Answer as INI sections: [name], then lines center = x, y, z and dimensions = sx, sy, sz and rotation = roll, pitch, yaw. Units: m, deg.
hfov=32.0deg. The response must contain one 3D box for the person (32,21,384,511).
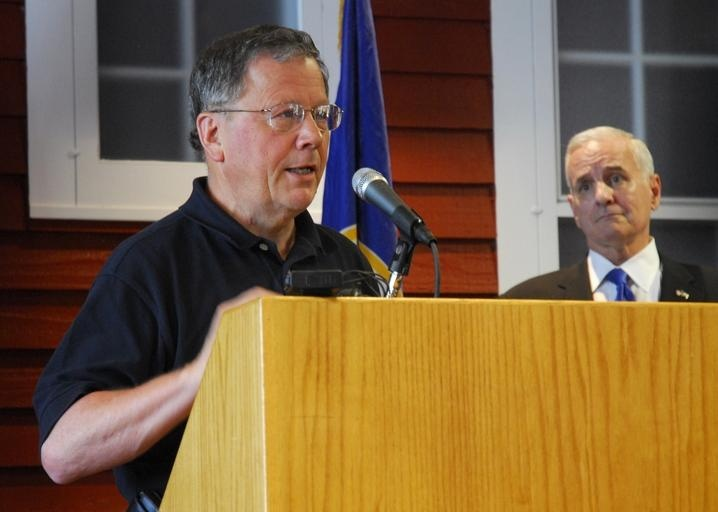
[person]
center = -0.599, -0.002, 4.909
dimensions = 0.690, 1.874, 1.294
rotation = -3, -3, 36

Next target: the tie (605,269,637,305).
[tie]
center = 1.186, 0.126, 5.737
dimensions = 0.131, 0.140, 0.109
rotation = -2, -2, 13

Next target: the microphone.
[microphone]
center = 0.121, -0.184, 4.629
dimensions = 0.148, 0.309, 0.411
rotation = 1, -3, -41
